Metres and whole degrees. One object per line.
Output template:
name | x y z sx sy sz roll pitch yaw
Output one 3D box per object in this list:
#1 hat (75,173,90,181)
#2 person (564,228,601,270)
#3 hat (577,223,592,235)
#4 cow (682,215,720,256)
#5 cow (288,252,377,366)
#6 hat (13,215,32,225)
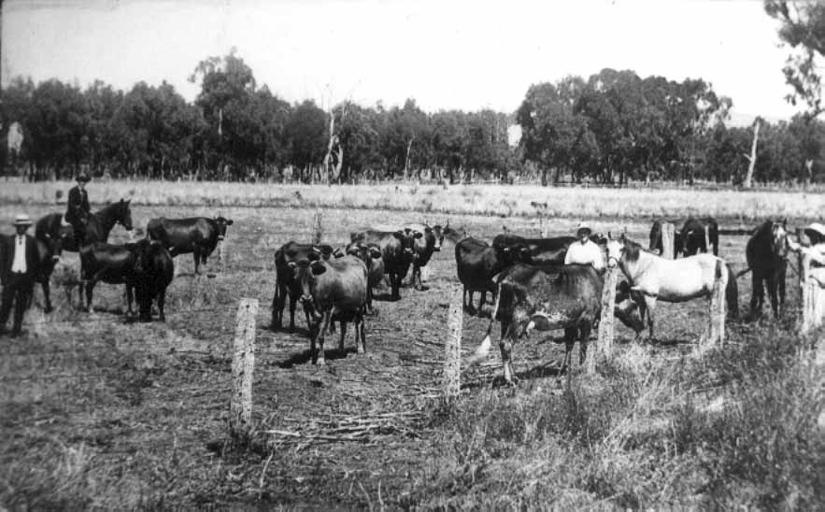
hat | -7.571 -1.798 18.595 0.199 0.115 0.201 1 -9 -39
person | 3.704 -0.134 17.694 0.736 0.914 0.459 2 -3 2
hat | 3.697 -0.598 17.562 0.277 0.249 0.336 -1 0 7
cow | 6.882 -0.469 19.357 0.775 1.240 0.854 0 -2 -26
cow | -1.699 1.119 17.163 0.968 2.271 1.978 0 0 31
hat | -8.445 -0.761 17.476 0.376 0.204 0.441 -2 -3 -35
